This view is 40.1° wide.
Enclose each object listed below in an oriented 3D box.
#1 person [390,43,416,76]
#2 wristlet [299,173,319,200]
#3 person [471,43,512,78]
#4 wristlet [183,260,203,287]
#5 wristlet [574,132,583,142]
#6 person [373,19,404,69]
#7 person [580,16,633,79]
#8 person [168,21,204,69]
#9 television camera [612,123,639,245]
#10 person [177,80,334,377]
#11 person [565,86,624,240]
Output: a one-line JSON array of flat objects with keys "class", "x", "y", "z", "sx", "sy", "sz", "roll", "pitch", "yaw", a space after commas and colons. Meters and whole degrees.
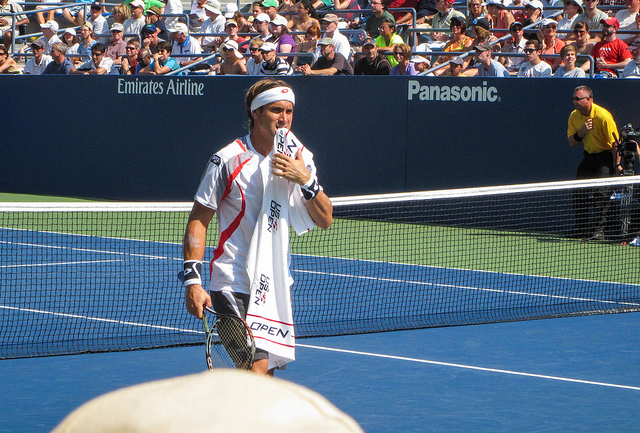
[{"class": "person", "x": 1.627, "y": -3.032, "z": 17.192, "sx": 0.556, "sy": 0.785, "sz": 0.401, "roll": 5, "pitch": 19, "yaw": 28}, {"class": "wristlet", "x": -0.071, "y": -0.252, "z": 7.589, "sx": 0.133, "sy": 0.179, "sz": 0.190, "roll": 5, "pitch": 25, "yaw": 26}, {"class": "person", "x": 3.138, "y": -2.954, "z": 16.426, "sx": 0.741, "sy": 0.601, "sz": 0.533, "roll": 9, "pitch": 16, "yaw": 32}, {"class": "wristlet", "x": -1.088, "y": 0.493, "z": 7.549, "sx": 0.177, "sy": 0.286, "sz": 0.225, "roll": 3, "pitch": -12, "yaw": -8}, {"class": "wristlet", "x": 4.420, "y": -1.363, "z": 14.973, "sx": 0.138, "sy": 0.146, "sz": 0.076, "roll": 0, "pitch": 13, "yaw": 3}, {"class": "person", "x": 1.362, "y": -3.438, "z": 18.345, "sx": 0.527, "sy": 1.348, "sz": 0.675, "roll": 5, "pitch": 11, "yaw": 33}, {"class": "person", "x": 5.298, "y": -3.078, "z": 15.906, "sx": 0.708, "sy": 1.028, "sz": 0.555, "roll": 4, "pitch": 14, "yaw": 17}, {"class": "person", "x": -3.149, "y": -3.934, "z": 20.292, "sx": 0.790, "sy": 1.082, "sz": 0.661, "roll": 11, "pitch": 20, "yaw": 23}, {"class": "television camera", "x": 5.030, "y": -0.540, "z": 14.465, "sx": 0.396, "sy": 1.876, "sz": 0.867, "roll": 2, "pitch": 14, "yaw": 10}, {"class": "person", "x": -0.556, "y": 0.160, "z": 7.592, "sx": 1.291, "sy": 2.617, "sz": 0.788, "roll": -5, "pitch": 14, "yaw": -19}, {"class": "person", "x": 4.603, "y": -0.901, "z": 14.828, "sx": 0.720, "sy": 2.563, "sz": 1.082, "roll": -10, "pitch": 16, "yaw": -35}]
